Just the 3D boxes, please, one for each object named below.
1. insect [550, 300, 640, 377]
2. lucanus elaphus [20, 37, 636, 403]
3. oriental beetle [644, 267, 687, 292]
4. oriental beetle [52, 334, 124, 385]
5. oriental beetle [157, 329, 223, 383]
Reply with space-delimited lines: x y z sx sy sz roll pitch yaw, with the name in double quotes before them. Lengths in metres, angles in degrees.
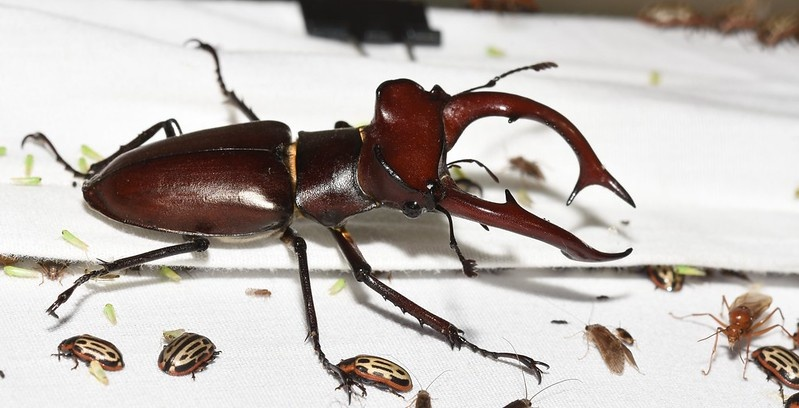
"insect" 1.107 0.773 4.397 0.308 0.073 0.238 35 44 22
"lucanus elaphus" -0.437 0.022 4.392 2.816 1.355 0.905 5 31 4
"oriental beetle" 1.520 0.422 4.585 0.177 0.043 0.142 35 71 11
"oriental beetle" -1.611 0.797 4.203 0.343 0.177 0.176 15 32 21
"oriental beetle" -1.107 0.791 4.225 0.211 0.085 0.281 38 53 24
